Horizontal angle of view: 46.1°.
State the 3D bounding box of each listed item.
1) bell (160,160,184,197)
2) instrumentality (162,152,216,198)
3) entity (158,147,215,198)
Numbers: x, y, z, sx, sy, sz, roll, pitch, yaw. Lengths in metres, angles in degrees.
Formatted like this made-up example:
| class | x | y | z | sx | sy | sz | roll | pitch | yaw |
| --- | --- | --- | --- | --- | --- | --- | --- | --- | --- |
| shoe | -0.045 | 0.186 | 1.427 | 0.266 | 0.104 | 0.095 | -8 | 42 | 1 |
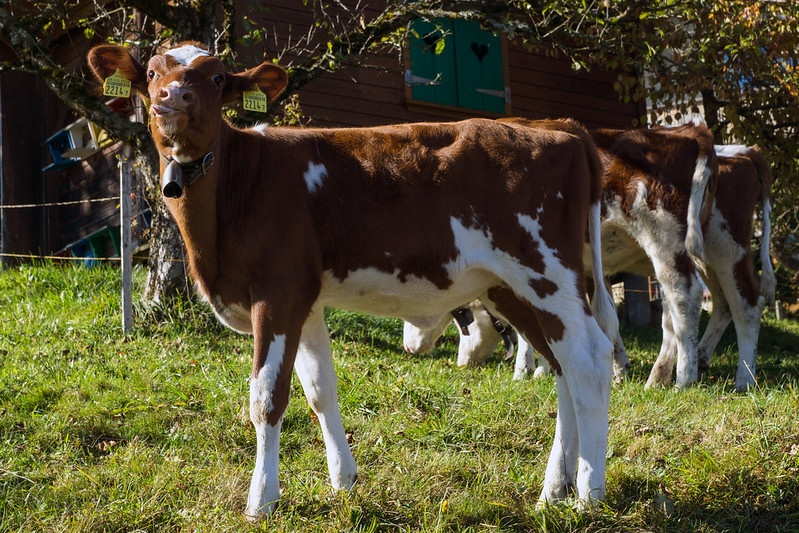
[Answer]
| class | x | y | z | sx | sy | sz | roll | pitch | yaw |
| --- | --- | --- | --- | --- | --- | --- | --- | --- | --- |
| bell | -2.027 | -0.758 | 8.345 | 0.170 | 0.334 | 0.133 | -1 | -10 | -13 |
| instrumentality | -1.934 | -0.823 | 8.393 | 0.311 | 0.465 | 0.124 | 22 | -23 | 3 |
| entity | -1.929 | -0.818 | 8.391 | 0.309 | 0.474 | 0.118 | 18 | -13 | 8 |
